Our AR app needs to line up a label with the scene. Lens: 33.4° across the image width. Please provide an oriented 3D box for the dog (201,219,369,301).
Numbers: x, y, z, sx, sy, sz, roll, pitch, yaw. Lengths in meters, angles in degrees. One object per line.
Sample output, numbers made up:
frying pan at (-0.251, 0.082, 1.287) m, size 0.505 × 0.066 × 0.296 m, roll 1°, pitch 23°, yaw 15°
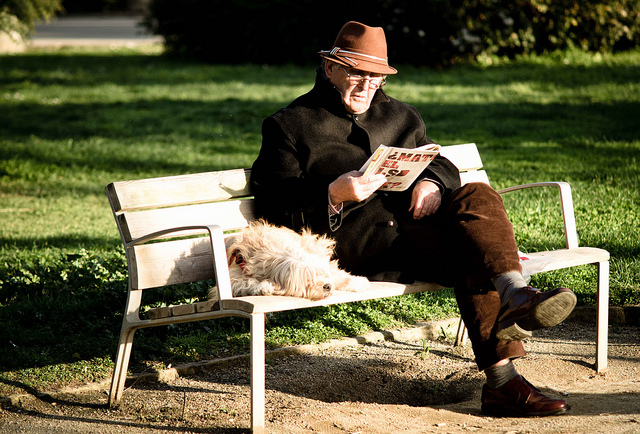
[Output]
dog at (-0.337, 0.433, 9.716) m, size 1.055 × 0.363 × 0.763 m, roll 10°, pitch 13°, yaw 1°

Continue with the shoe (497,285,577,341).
shoe at (1.903, 0.893, 9.462) m, size 0.668 × 0.526 × 0.220 m, roll -1°, pitch 23°, yaw 11°

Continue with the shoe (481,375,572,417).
shoe at (1.872, 1.665, 9.758) m, size 0.844 × 0.374 × 0.334 m, roll -4°, pitch -12°, yaw 36°

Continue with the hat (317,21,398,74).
hat at (0.385, -1.609, 10.117) m, size 0.559 × 0.305 × 0.591 m, roll 1°, pitch 8°, yaw -39°
